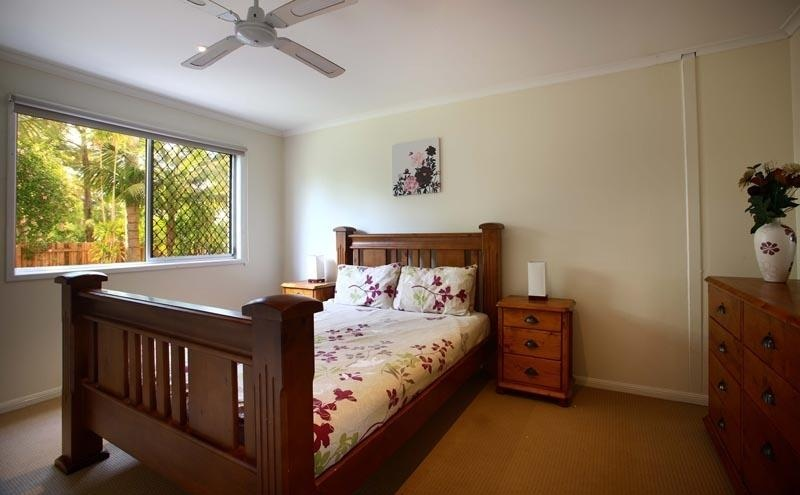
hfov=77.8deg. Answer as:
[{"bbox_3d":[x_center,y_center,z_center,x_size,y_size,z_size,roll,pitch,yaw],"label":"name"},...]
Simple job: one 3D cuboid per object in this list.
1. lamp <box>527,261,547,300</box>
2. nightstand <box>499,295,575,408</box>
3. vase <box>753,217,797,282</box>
[{"bbox_3d":[1.401,0.346,4.941,0.258,0.372,0.268,0,-2,-16],"label":"lamp"},{"bbox_3d":[1.363,0.962,4.974,0.730,0.954,0.606,3,9,29],"label":"nightstand"},{"bbox_3d":[2.995,0.037,3.938,0.252,0.482,0.110,0,3,36],"label":"vase"}]
